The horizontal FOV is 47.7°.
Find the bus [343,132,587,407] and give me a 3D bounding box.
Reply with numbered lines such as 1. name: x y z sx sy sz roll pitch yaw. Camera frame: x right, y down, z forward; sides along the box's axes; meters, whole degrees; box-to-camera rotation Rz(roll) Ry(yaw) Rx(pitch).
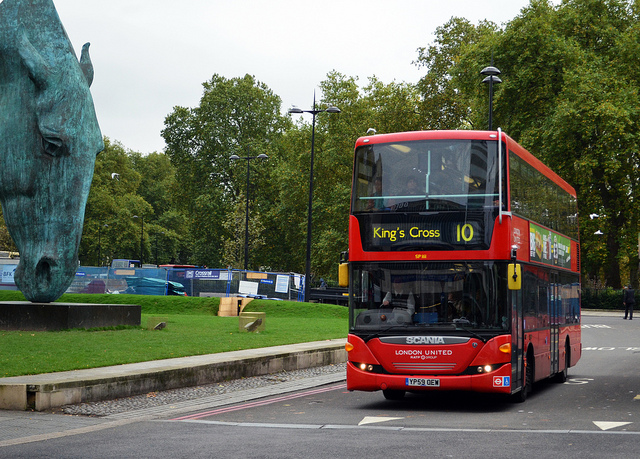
1. bus: 3.458 0.967 15.676 2.864 5.503 5.788 -4 -9 39

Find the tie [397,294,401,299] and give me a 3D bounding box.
1. tie: 1.536 1.289 14.096 0.063 0.122 0.066 -2 -6 15

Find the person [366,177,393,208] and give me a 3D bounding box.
1. person: 1.206 -0.710 14.414 0.475 0.782 0.285 -6 -20 28
